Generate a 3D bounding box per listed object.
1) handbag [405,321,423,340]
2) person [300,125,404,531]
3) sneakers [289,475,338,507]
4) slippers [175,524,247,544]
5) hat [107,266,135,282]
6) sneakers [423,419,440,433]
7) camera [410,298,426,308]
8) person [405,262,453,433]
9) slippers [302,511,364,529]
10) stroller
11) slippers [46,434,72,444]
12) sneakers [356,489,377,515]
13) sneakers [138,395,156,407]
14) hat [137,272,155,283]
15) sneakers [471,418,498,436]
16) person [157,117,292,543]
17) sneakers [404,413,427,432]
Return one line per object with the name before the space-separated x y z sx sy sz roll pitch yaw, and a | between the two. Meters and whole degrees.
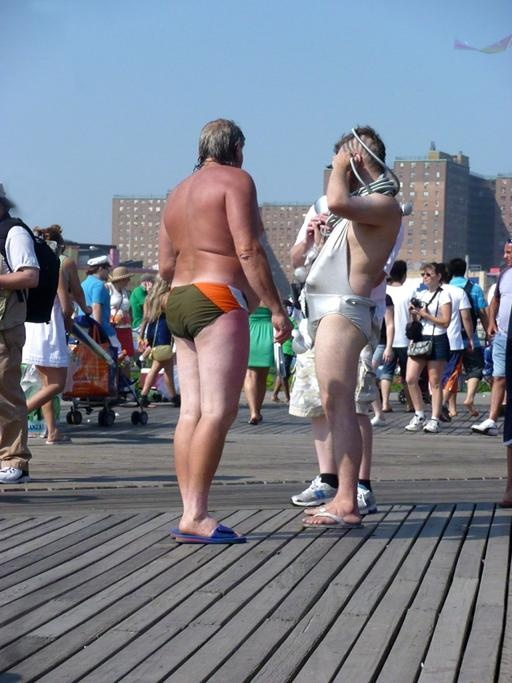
handbag | 1.739 -0.129 8.869 0.172 0.190 0.220 -2 0 -21
person | 0.411 -0.095 3.477 0.418 1.802 0.559 1 -2 3
sneakers | 0.291 0.781 4.131 0.279 0.114 0.098 -2 0 -31
slippers | -0.199 0.759 3.181 0.236 0.057 0.098 0 1 2
hat | -2.009 -1.011 11.714 0.294 0.099 0.308 -15 1 8
sneakers | 1.876 0.909 8.652 0.156 0.142 0.166 1 -2 6
camera | 1.777 -0.431 8.941 0.111 0.061 0.124 6 3 19
person | 1.892 0.042 8.884 0.472 1.895 0.607 1 -2 12
slippers | 0.328 0.780 3.490 0.261 0.062 0.086 4 -6 1
stroller | -1.708 0.319 8.399 0.866 1.168 1.438 1 -2 13
slippers | -1.732 0.848 6.969 0.224 0.066 0.086 2 1 -37
sneakers | 0.523 0.768 3.853 0.085 0.092 0.216 -4 -11 19
sneakers | -1.404 0.745 10.046 0.145 0.138 0.388 4 0 2
hat | -1.889 -1.095 13.598 0.371 0.176 0.431 -1 -1 6
sneakers | 2.334 0.894 8.451 0.384 0.172 0.125 5 -7 -4
person | -0.213 0.023 3.338 0.616 1.551 0.355 0 -3 37
sneakers | 1.741 0.892 8.824 0.123 0.137 0.322 -4 -1 26
